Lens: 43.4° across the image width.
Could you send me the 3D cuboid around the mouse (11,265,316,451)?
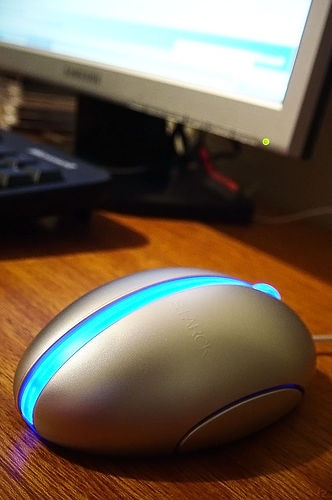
[{"bbox_3d":[-0.001,0.038,0.226,0.132,0.045,0.095,-10,35,-25],"label":"mouse"}]
